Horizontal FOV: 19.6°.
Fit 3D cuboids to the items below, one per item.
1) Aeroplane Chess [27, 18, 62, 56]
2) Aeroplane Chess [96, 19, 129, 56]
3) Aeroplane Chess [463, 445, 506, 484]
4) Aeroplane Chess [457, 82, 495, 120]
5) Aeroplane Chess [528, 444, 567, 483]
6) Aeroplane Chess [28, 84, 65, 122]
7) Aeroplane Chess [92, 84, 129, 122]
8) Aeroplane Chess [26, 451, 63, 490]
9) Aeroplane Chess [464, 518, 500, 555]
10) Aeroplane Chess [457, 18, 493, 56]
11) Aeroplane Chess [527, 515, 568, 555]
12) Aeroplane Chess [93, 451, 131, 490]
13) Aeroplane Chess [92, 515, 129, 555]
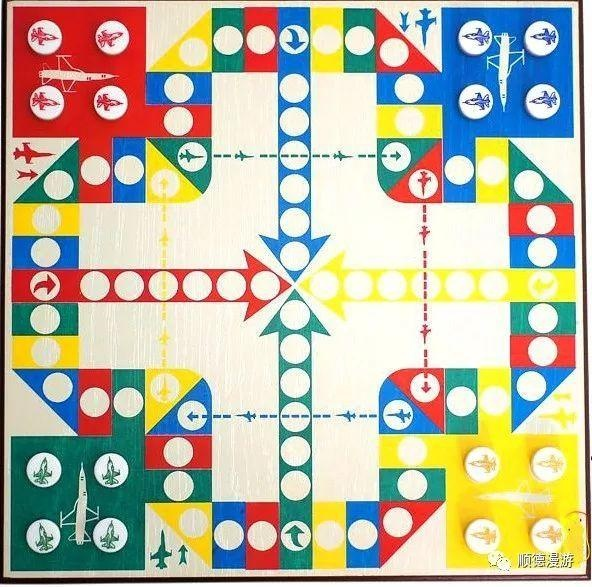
[{"bbox_3d":[-0.579,-0.601,3.983,0.080,0.013,0.079,5,-86,-1],"label":"Aeroplane Chess"},{"bbox_3d":[-0.421,-0.600,3.979,0.078,0.012,0.078,-2,-86,-1],"label":"Aeroplane Chess"},{"bbox_3d":[0.436,0.393,3.968,0.086,0.023,0.085,-1,-86,-1],"label":"Aeroplane Chess"},{"bbox_3d":[0.419,-0.453,3.984,0.075,0.012,0.077,-6,-86,0],"label":"Aeroplane Chess"},{"bbox_3d":[0.587,0.390,3.966,0.076,0.013,0.076,1,-86,-1],"label":"Aeroplane Chess"},{"bbox_3d":[-0.573,-0.452,3.982,0.082,0.020,0.079,26,-87,-2],"label":"Aeroplane Chess"},{"bbox_3d":[-0.425,-0.451,3.982,0.078,0.020,0.083,0,-86,-1],"label":"Aeroplane Chess"},{"bbox_3d":[-0.579,0.407,3.964,0.071,0.011,0.092,-1,-92,1],"label":"Aeroplane Chess"},{"bbox_3d":[0.436,0.557,3.963,0.086,0.023,0.079,14,-87,-2],"label":"Aeroplane Chess"},{"bbox_3d":[0.418,-0.603,3.985,0.073,0.014,0.075,2,-86,-1],"label":"Aeroplane Chess"},{"bbox_3d":[0.585,0.557,3.969,0.073,0.015,0.080,0,-86,-1],"label":"Aeroplane Chess"},{"bbox_3d":[-0.423,0.405,3.962,0.068,0.017,0.078,-24,-89,-1],"label":"Aeroplane Chess"},{"bbox_3d":[-0.425,0.555,3.959,0.066,0.073,0.082,1,-88,3],"label":"Aeroplane Chess"}]
